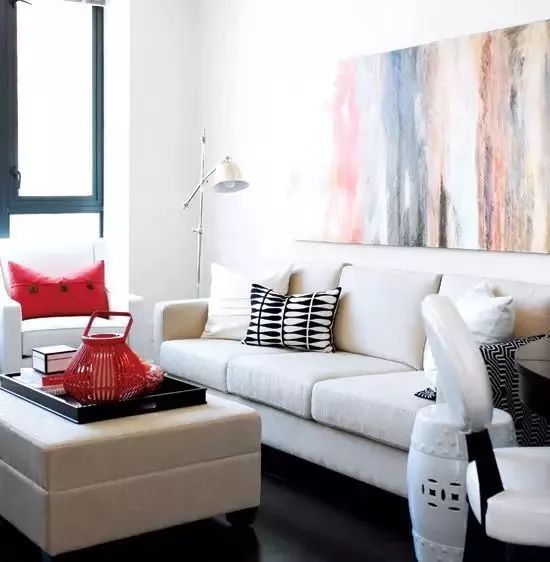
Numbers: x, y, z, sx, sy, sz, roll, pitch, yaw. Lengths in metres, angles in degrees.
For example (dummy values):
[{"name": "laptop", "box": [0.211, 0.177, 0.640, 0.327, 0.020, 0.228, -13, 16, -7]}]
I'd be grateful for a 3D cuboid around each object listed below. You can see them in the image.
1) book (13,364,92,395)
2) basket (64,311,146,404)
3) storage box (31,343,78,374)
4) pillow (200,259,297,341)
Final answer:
[{"name": "book", "box": [-0.888, 0.386, 2.053, 0.154, 0.047, 0.155, 5, 0, -44]}, {"name": "basket", "box": [-0.590, 0.253, 1.901, 0.237, 0.324, 0.271, -1, -4, 25]}, {"name": "storage box", "box": [-0.865, 0.282, 2.123, 0.121, 0.095, 0.130, 1, -2, 32]}, {"name": "pillow", "box": [-0.145, 0.129, 3.234, 0.400, 0.457, 0.170, -2, -22, 33]}]
